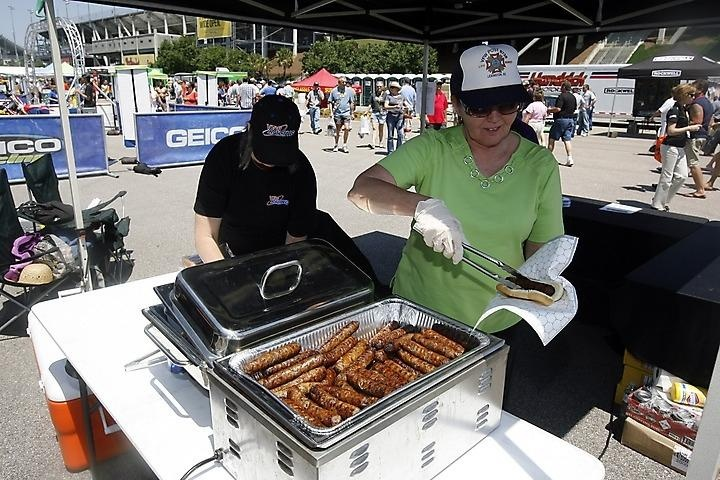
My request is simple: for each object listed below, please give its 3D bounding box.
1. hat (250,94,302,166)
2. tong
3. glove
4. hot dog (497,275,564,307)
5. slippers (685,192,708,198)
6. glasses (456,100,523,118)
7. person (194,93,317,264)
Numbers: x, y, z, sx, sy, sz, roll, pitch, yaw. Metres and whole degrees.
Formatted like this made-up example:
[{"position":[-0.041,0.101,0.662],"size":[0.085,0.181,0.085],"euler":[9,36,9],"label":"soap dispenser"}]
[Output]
[{"position":[-0.566,-0.708,3.005],"size":[0.332,0.468,0.295],"euler":[-3,22,-12],"label":"hat"},{"position":[0.620,0.079,2.431],"size":[0.492,0.056,0.104],"euler":[38,61,7],"label":"tong"},{"position":[0.401,-0.054,2.256],"size":[0.228,0.319,0.087],"euler":[-13,-16,-32],"label":"glove"},{"position":[0.790,0.231,2.097],"size":[0.228,0.073,0.123],"euler":[9,42,39],"label":"hot dog"},{"position":[7.410,-0.976,9.917],"size":[0.437,0.117,0.168],"euler":[4,14,25],"label":"slippers"},{"position":[0.702,-0.698,2.412],"size":[0.332,0.083,0.138],"euler":[7,21,14],"label":"glasses"},{"position":[-0.712,-0.318,3.148],"size":[0.560,1.377,0.653],"euler":[-2,4,-38],"label":"person"}]
